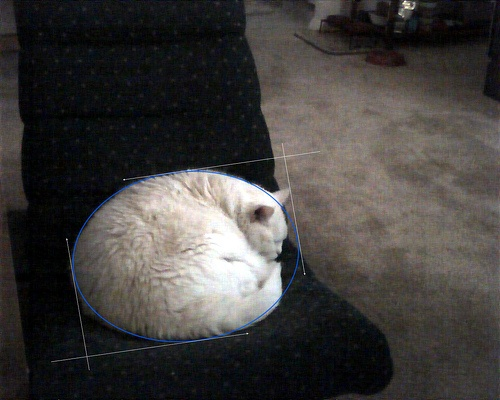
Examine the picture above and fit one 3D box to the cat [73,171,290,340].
[{"bbox_3d":[-0.199,0.148,1.729,0.600,0.302,0.397,4,34,-2],"label":"cat"}]
